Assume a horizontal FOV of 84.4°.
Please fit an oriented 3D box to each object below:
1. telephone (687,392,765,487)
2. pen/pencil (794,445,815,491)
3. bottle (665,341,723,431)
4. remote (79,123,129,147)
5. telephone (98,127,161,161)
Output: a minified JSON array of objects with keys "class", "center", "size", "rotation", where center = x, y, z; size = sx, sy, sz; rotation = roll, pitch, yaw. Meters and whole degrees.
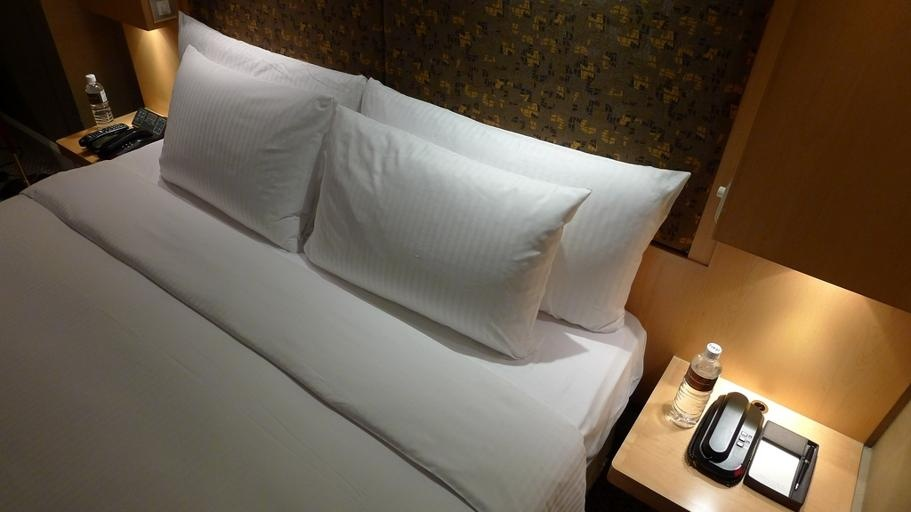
[{"class":"telephone","center":[1.044,0.696,1.926],"size":[0.229,0.364,0.100],"rotation":[25,-26,33]},{"class":"pen/pencil","center":[1.327,0.802,1.910],"size":[0.024,0.168,0.024],"rotation":[33,-8,-40]},{"class":"bottle","center":[0.956,0.509,1.987],"size":[0.113,0.389,0.113],"rotation":[2,34,-1]},{"class":"remote","center":[-2.040,-0.699,2.915],"size":[0.062,0.249,0.074],"rotation":[40,-28,27]},{"class":"telephone","center":[-1.881,-0.627,2.938],"size":[0.198,0.282,0.088],"rotation":[51,-21,29]}]
